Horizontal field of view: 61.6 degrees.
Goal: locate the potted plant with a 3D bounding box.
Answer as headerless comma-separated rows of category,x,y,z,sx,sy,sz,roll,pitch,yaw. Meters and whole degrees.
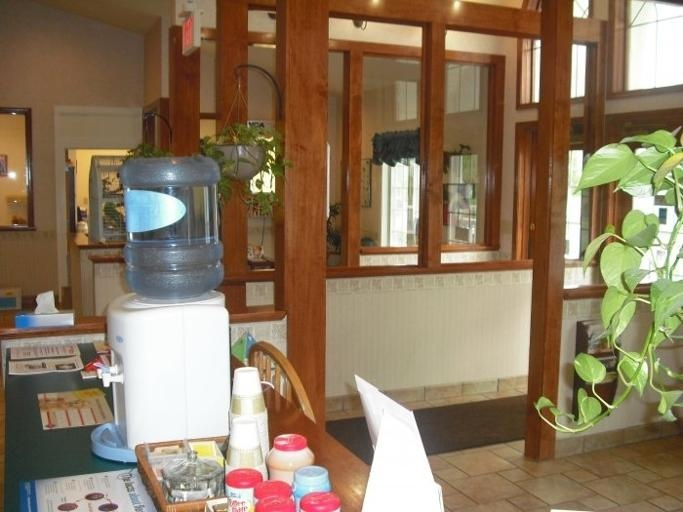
potted plant,-0.473,-0.534,3.341,0.611,0.602,0.542,0,2,-25

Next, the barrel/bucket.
barrel/bucket,-0.515,-0.100,1.743,0.287,0.420,0.332,-1,7,-14
